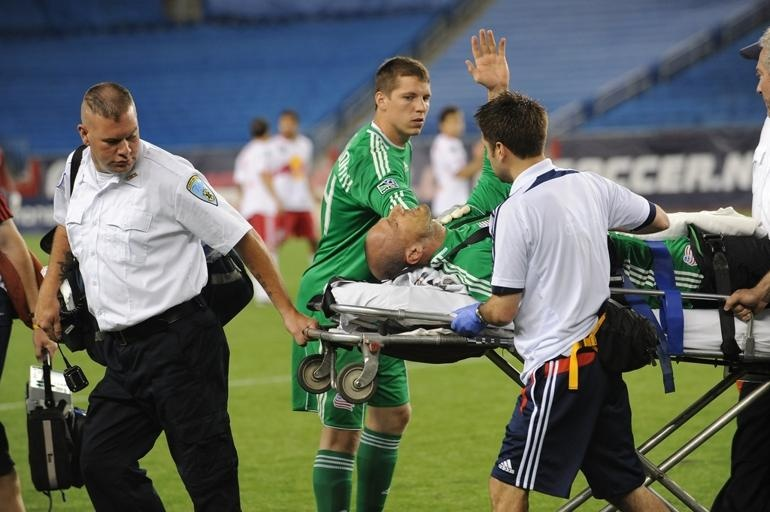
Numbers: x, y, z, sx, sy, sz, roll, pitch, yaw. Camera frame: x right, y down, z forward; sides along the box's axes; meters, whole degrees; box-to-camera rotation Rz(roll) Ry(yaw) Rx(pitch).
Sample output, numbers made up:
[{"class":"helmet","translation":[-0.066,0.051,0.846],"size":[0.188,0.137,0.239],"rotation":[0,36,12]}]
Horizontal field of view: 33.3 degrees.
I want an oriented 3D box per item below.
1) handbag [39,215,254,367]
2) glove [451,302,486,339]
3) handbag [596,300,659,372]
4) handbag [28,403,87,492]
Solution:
[{"class":"handbag","translation":[-2.198,0.329,11.932],"size":[1.541,1.376,1.019],"rotation":[-32,4,-10]},{"class":"glove","translation":[0.709,0.560,10.996],"size":[0.243,0.139,0.317],"rotation":[0,-11,-34]},{"class":"handbag","translation":[2.040,0.692,10.961],"size":[0.455,0.282,0.594],"rotation":[13,-34,8]},{"class":"handbag","translation":[-2.957,1.734,11.515],"size":[0.496,0.764,0.269],"rotation":[1,4,-1]}]
